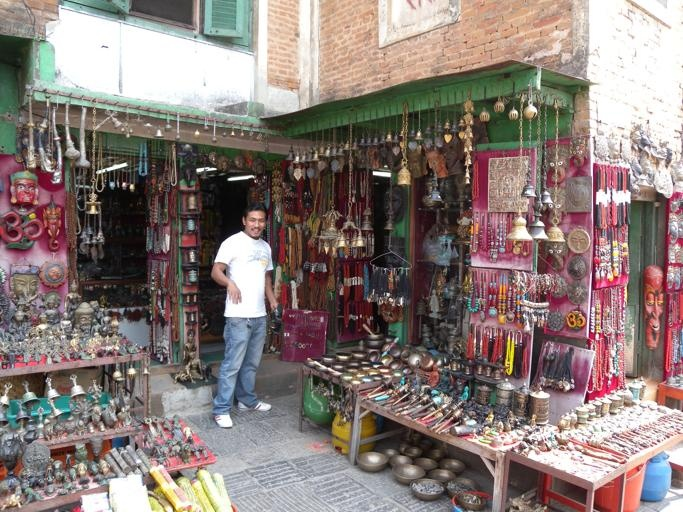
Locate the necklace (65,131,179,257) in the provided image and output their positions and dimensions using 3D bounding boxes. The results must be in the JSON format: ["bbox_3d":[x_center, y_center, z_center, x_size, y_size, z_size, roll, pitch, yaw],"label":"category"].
[{"bbox_3d":[-2.949,-0.847,8.056,1.311,1.832,0.139,-2,5,-38],"label":"necklace"}]

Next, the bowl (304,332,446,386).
[{"bbox_3d":[0.368,1.132,6.390,1.169,0.341,1.229,-2,5,0],"label":"bowl"}]

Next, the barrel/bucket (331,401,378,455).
[{"bbox_3d":[0.134,1.739,6.178,0.408,0.450,0.409,1,-4,0],"label":"barrel/bucket"}]

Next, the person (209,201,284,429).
[{"bbox_3d":[-1.118,0.634,6.750,0.762,2.381,0.545,-4,5,-22],"label":"person"}]

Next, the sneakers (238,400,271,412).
[{"bbox_3d":[-1.013,1.736,6.973,0.362,0.177,0.149,-2,0,-5],"label":"sneakers"}]

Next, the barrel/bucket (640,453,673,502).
[{"bbox_3d":[2.849,1.967,5.531,0.253,0.464,0.261,0,10,0],"label":"barrel/bucket"}]

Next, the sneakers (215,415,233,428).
[{"bbox_3d":[-1.298,1.786,6.618,0.200,0.129,0.204,-3,5,-7],"label":"sneakers"}]

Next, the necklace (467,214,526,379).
[{"bbox_3d":[1.541,0.668,5.972,0.658,1.078,0.327,1,6,28],"label":"necklace"}]
